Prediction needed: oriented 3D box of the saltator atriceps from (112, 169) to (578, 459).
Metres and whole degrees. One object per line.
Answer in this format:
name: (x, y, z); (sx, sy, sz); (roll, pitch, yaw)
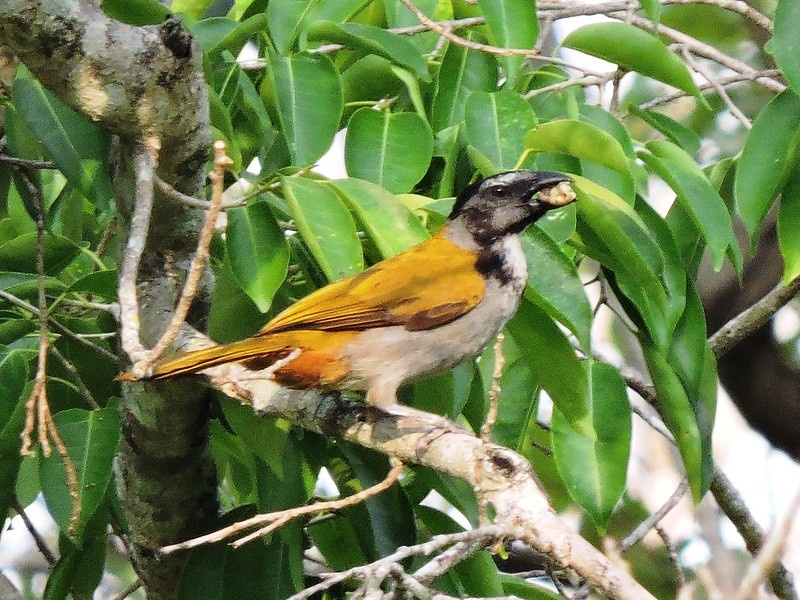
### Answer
saltator atriceps: (-0.173, -0.002, 4.625); (1.681, 0.844, 0.439); (0, -6, 10)
